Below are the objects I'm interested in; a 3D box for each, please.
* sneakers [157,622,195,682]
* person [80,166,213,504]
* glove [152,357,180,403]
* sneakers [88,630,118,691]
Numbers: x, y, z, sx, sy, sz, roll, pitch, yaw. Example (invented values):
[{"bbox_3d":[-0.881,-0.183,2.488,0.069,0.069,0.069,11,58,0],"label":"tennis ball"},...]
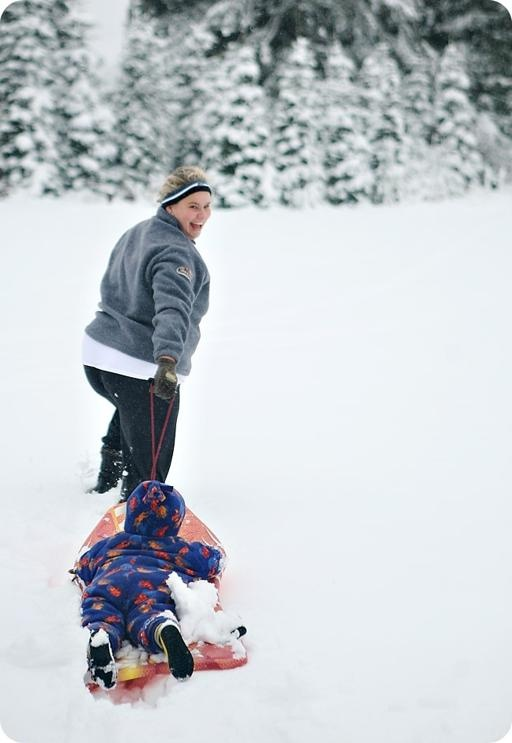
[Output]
[{"bbox_3d":[-0.240,0.816,3.043,0.073,0.186,0.080,-17,-17,-14],"label":"sneakers"},{"bbox_3d":[-0.401,-0.176,3.985,0.403,1.282,0.662,11,-15,-28],"label":"person"},{"bbox_3d":[-0.322,0.033,3.672,0.085,0.138,0.062,8,9,-10],"label":"glove"},{"bbox_3d":[-0.446,0.835,2.985,0.082,0.169,0.072,-4,-8,-2],"label":"sneakers"}]
